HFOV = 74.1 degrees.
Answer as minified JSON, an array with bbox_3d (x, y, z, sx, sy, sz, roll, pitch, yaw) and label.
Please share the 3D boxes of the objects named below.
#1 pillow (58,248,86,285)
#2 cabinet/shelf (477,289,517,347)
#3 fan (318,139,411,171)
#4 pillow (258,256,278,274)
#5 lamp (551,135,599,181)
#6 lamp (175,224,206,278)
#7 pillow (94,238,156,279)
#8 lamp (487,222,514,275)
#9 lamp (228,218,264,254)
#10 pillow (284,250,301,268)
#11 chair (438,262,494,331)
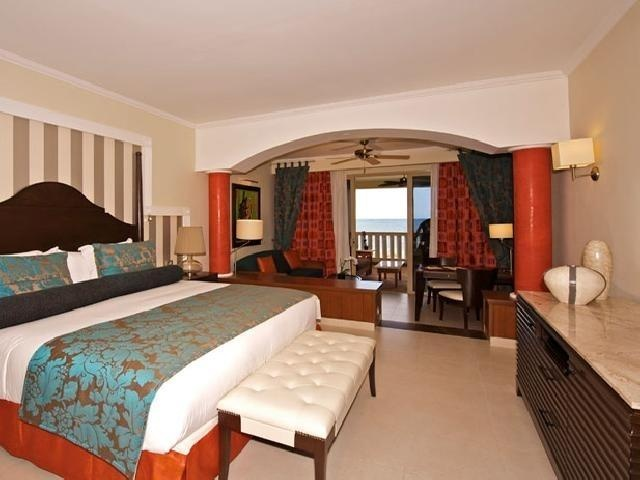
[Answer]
[{"bbox_3d":[-2.474,0.242,4.319,0.093,0.407,0.473,-23,-4,-42],"label":"pillow"},{"bbox_3d":[2.119,0.953,5.008,0.307,0.581,0.251,-2,4,13],"label":"cabinet/shelf"},{"bbox_3d":[0.688,-1.317,6.497,0.748,0.226,0.835,6,8,37],"label":"fan"},{"bbox_3d":[-0.940,0.426,7.396,0.283,0.362,0.262,-10,-3,43],"label":"pillow"},{"bbox_3d":[2.534,-0.780,4.262,0.360,0.429,0.453,-2,4,18],"label":"lamp"},{"bbox_3d":[-1.757,0.156,5.754,0.402,0.632,0.391,0,0,-17],"label":"lamp"},{"bbox_3d":[-2.120,0.197,4.625,0.143,0.326,0.537,-17,-6,25],"label":"pillow"},{"bbox_3d":[2.702,0.096,6.340,0.317,0.703,0.964,-1,4,23],"label":"lamp"},{"bbox_3d":[-1.009,-0.102,6.129,0.358,0.387,0.355,-3,8,-39],"label":"lamp"},{"bbox_3d":[-0.520,0.355,8.014,0.129,0.271,0.473,-25,-8,17],"label":"pillow"},{"bbox_3d":[1.917,0.731,5.690,0.551,0.701,0.603,-1,1,-21],"label":"chair"}]
